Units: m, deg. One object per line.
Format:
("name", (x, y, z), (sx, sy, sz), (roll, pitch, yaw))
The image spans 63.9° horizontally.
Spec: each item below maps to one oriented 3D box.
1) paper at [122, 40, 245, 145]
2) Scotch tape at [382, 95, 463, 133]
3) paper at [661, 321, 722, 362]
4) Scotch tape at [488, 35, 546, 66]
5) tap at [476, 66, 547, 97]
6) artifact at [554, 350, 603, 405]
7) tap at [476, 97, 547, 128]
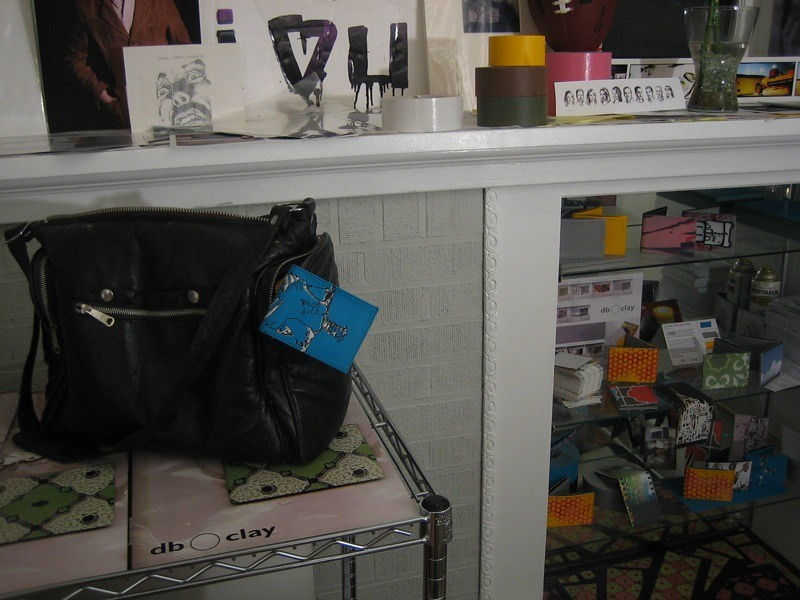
("paper", (-0.358, -0.342, 1.065), (0.205, 0.144, 0.020), (-5, 4, 17))
("Scotch tape", (0.034, -0.305, 1.055), (0.135, 0.060, 0.064), (-4, 17, 3))
("paper", (0.643, 0.090, 1.429), (0.098, 0.063, 0.010), (-8, 14, -16))
("Scotch tape", (0.198, -0.413, 1.042), (0.071, 0.033, 0.068), (-9, 26, -18))
("tap", (0.181, -0.362, 1.062), (0.114, 0.052, 0.037), (-2, 17, 8))
("artifact", (0.377, 0.161, 1.403), (0.114, 0.071, 0.111), (-15, 23, -39))
("tap", (0.187, -0.304, 1.068), (0.073, 0.029, 0.072), (9, 17, 31))
